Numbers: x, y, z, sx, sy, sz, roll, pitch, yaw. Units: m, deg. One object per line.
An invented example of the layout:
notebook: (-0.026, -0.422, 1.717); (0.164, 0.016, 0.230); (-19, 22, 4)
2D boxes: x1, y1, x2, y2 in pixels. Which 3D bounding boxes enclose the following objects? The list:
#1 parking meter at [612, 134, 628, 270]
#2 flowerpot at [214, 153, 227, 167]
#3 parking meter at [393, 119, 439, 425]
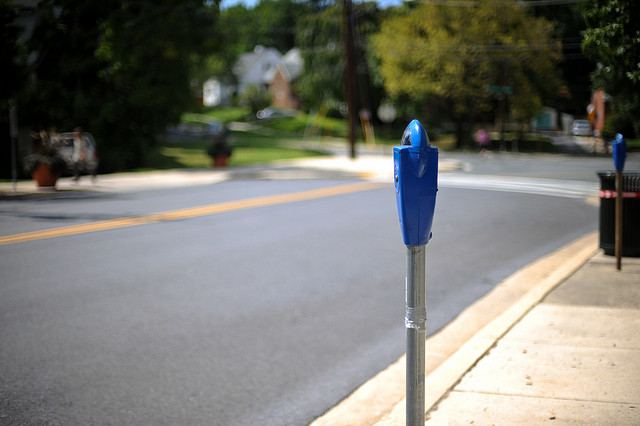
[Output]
parking meter: (4.772, -0.188, 9.382); (0.336, 2.181, 0.225); (-2, 3, -35)
flowerpot: (-5.354, -2.902, 31.485); (0.563, 0.786, 0.626); (3, 0, -1)
parking meter: (0.764, 0.466, 4.640); (0.299, 2.386, 0.275); (-3, 4, -19)
